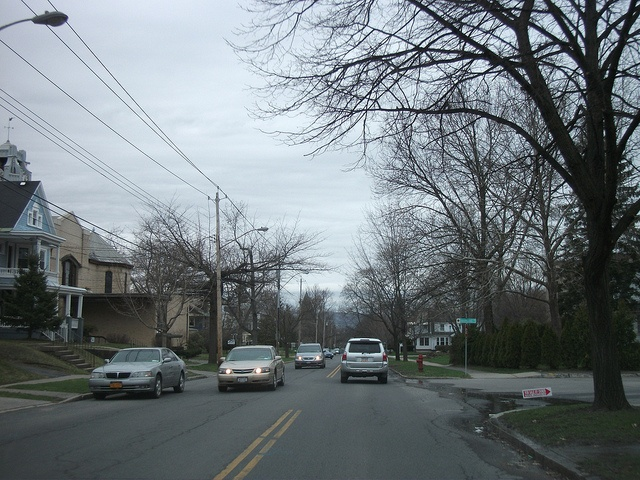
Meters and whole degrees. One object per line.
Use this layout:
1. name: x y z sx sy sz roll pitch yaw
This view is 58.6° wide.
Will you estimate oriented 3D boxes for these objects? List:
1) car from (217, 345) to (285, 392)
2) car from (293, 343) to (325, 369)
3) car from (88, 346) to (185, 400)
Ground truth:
1. car: -2.641 5.121 22.739 2.080 1.708 2.897 -4 -9 23
2. car: -0.732 8.774 42.949 2.127 1.718 2.165 0 -8 0
3. car: -6.414 4.804 20.646 1.971 1.694 3.470 -3 -9 18
